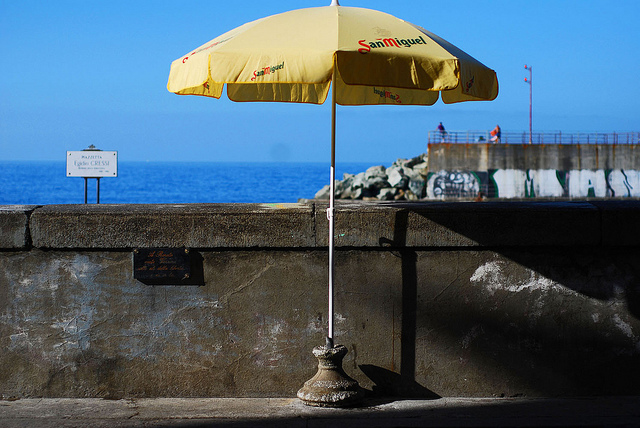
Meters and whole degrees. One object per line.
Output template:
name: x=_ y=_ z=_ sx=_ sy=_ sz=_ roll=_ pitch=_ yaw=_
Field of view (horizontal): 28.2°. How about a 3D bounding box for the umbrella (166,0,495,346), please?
umbrella: x=0.016 y=-0.546 z=17.782 sx=3.967 sy=4.648 sz=4.189 roll=0 pitch=3 yaw=2
